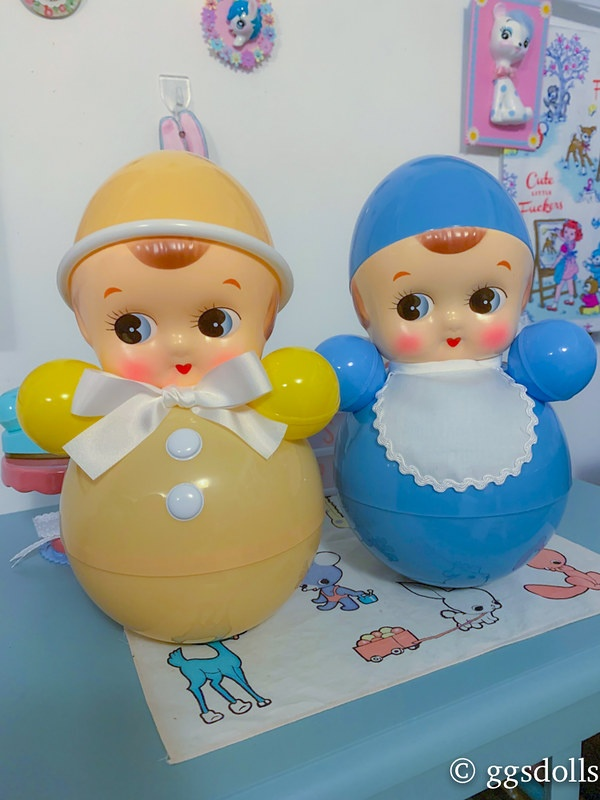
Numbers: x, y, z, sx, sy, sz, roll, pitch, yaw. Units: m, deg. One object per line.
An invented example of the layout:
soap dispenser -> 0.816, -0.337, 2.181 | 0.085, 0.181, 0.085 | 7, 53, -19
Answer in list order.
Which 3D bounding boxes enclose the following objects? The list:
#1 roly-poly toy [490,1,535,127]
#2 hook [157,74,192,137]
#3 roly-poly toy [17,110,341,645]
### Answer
roly-poly toy -> 0.399, -0.611, 1.370 | 0.103, 0.209, 0.055 | -17, 33, -27
hook -> -0.194, -0.468, 1.164 | 0.068, 0.105, 0.034 | -1, -12, -13
roly-poly toy -> -0.118, 0.011, 0.762 | 0.316, 0.486, 0.274 | -10, 30, -16
